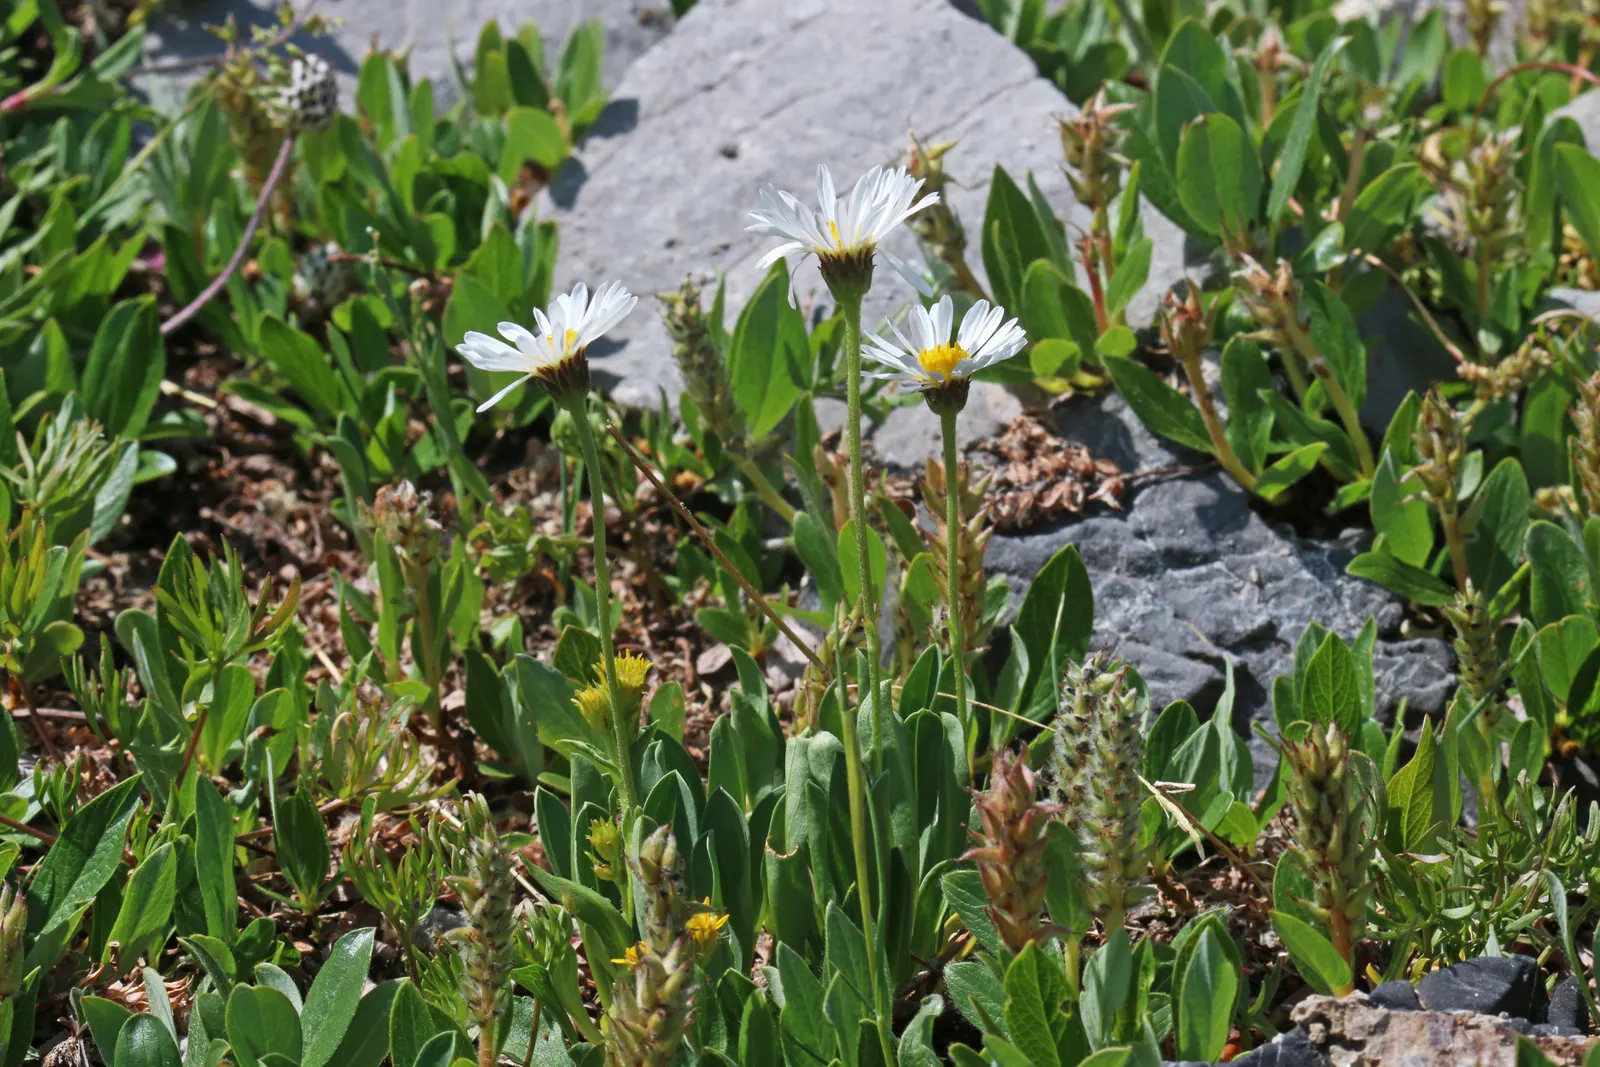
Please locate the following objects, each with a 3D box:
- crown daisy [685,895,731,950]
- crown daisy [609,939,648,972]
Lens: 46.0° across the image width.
[{"bbox_3d":[-0.165,0.720,3.449,0.074,0.095,0.091,-4,16,2],"label":"crown daisy"},{"bbox_3d":[-0.307,0.773,3.450,0.066,0.070,0.040,-36,77,-25],"label":"crown daisy"}]
